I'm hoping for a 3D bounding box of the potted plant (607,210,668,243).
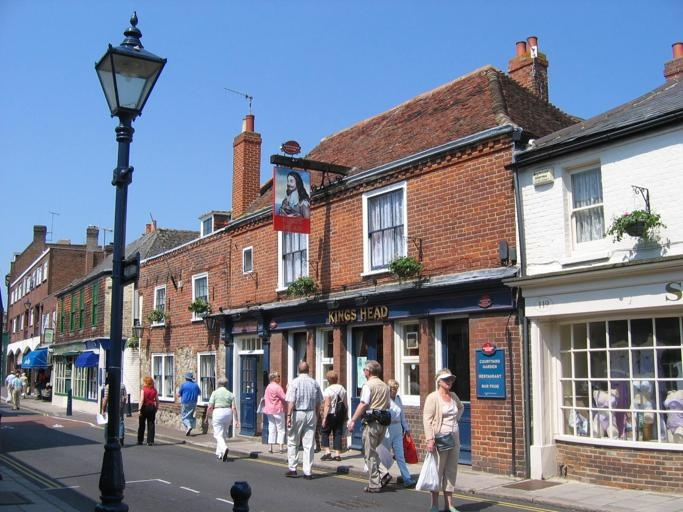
[{"bbox_3d":[5.805,-0.687,15.754,0.706,0.467,0.678,-3,0,-4],"label":"potted plant"}]

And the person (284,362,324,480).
[{"bbox_3d":[-0.871,3.608,17.822,0.694,2.514,0.587,-2,-11,5],"label":"person"}]

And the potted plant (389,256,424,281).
[{"bbox_3d":[1.571,0.332,19.389,0.515,0.440,0.570,1,-5,2],"label":"potted plant"}]

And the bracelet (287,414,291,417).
[{"bbox_3d":[-1.139,3.512,17.704,0.064,0.077,0.050,0,-15,-5],"label":"bracelet"}]

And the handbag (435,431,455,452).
[{"bbox_3d":[1.835,3.294,14.292,0.278,0.326,0.288,-7,-6,-3],"label":"handbag"}]

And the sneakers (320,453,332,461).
[{"bbox_3d":[-0.377,4.872,19.511,0.112,0.131,0.287,10,-15,-36],"label":"sneakers"}]

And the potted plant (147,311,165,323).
[{"bbox_3d":[-6.918,2.316,30.614,0.519,0.530,0.587,-1,-17,7],"label":"potted plant"}]

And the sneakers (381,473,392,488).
[{"bbox_3d":[0.881,4.577,16.371,0.129,0.390,0.156,5,32,-36],"label":"sneakers"}]

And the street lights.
[{"bbox_3d":[-3.423,-0.140,12.559,0.875,7.942,0.899,6,-12,-31],"label":"street lights"}]

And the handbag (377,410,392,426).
[{"bbox_3d":[0.885,3.248,16.198,0.318,0.303,0.125,10,-15,-41],"label":"handbag"}]

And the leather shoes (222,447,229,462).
[{"bbox_3d":[-2.830,4.904,19.862,0.117,0.349,0.131,7,5,-24],"label":"leather shoes"}]

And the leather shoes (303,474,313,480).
[{"bbox_3d":[-0.694,4.762,17.355,0.072,0.090,0.186,8,-19,-30],"label":"leather shoes"}]

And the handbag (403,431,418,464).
[{"bbox_3d":[1.403,3.913,16.504,0.251,0.603,0.491,-2,-12,4],"label":"handbag"}]

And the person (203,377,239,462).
[{"bbox_3d":[-2.936,4.000,19.929,0.614,2.000,0.946,2,-8,-14],"label":"person"}]

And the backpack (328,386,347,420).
[{"bbox_3d":[-0.098,3.362,18.752,0.539,0.722,0.277,5,-12,-26],"label":"backpack"}]

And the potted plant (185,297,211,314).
[{"bbox_3d":[-4.769,1.722,27.496,0.587,0.561,0.602,-6,-8,39],"label":"potted plant"}]

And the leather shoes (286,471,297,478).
[{"bbox_3d":[-1.071,4.772,17.634,0.106,0.113,0.237,5,-6,-31],"label":"leather shoes"}]

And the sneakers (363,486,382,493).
[{"bbox_3d":[0.618,4.682,16.181,0.267,0.129,0.142,4,-1,25],"label":"sneakers"}]

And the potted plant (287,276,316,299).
[{"bbox_3d":[-1.011,0.846,22.055,0.531,0.536,0.574,-3,-4,25],"label":"potted plant"}]
